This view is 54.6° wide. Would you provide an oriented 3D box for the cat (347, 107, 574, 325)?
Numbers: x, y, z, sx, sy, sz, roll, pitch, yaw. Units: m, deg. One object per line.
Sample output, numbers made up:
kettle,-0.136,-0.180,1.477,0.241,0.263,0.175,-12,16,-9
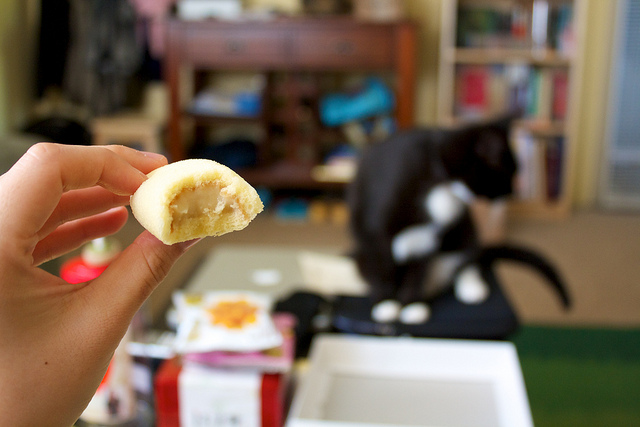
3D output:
cat,0.178,-0.002,0.941,0.407,0.308,0.190,-2,-7,37
